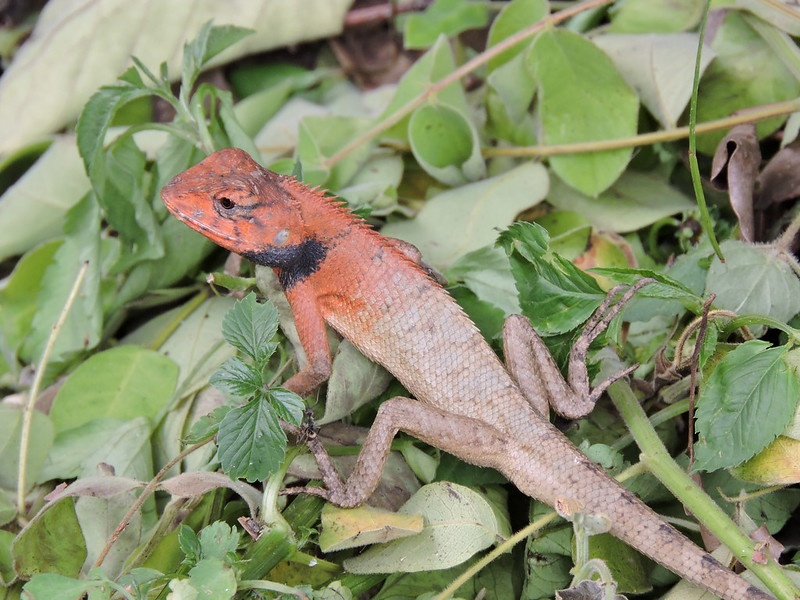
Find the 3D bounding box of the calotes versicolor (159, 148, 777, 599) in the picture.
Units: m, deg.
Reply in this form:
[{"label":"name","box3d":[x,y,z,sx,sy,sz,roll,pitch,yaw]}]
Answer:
[{"label":"calotes versicolor","box3d":[0.083,0.218,2.080,1.532,0.316,0.698,44,72,10]}]
